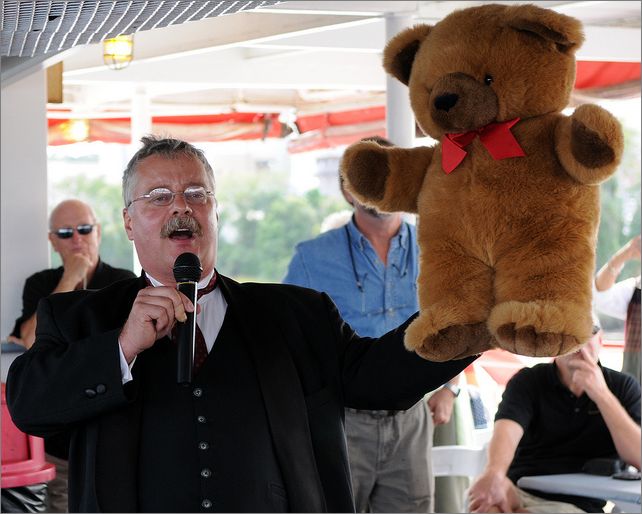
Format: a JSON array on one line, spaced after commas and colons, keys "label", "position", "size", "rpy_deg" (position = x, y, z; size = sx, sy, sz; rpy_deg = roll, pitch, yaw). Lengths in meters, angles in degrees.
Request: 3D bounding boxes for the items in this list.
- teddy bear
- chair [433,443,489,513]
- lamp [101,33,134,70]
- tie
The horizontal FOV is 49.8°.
[{"label": "teddy bear", "position": [0.490, -0.240, 2.110], "size": [0.784, 1.101, 0.256], "rpy_deg": [-1, 1, 25]}, {"label": "chair", "position": [0.831, 1.298, 4.274], "size": [0.437, 0.491, 0.381], "rpy_deg": [0, 4, 13]}, {"label": "lamp", "position": [-1.711, -1.758, 5.856], "size": [0.235, 0.268, 0.444], "rpy_deg": [-1, 0, -32]}, {"label": "tie", "position": [-0.474, 0.229, 2.579], "size": [0.261, 0.327, 0.092], "rpy_deg": [-3, -2, 4]}]
